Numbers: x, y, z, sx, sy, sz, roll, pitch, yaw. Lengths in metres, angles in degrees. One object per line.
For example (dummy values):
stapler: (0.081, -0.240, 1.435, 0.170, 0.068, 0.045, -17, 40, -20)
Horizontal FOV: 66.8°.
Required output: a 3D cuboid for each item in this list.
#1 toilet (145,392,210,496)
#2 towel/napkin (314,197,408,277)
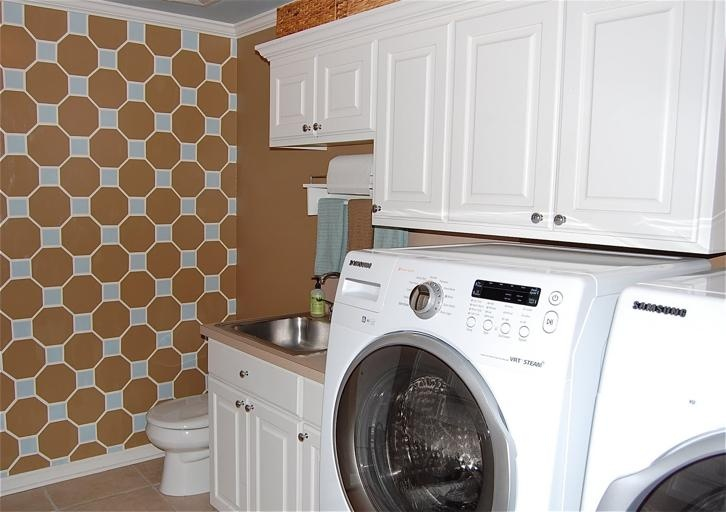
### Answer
toilet: (-1.074, 1.125, 3.196, 0.339, 0.543, 0.504, 0, 8, -19)
towel/napkin: (-0.002, -0.099, 2.596, 0.430, 0.295, 0.030, 4, 5, 43)
